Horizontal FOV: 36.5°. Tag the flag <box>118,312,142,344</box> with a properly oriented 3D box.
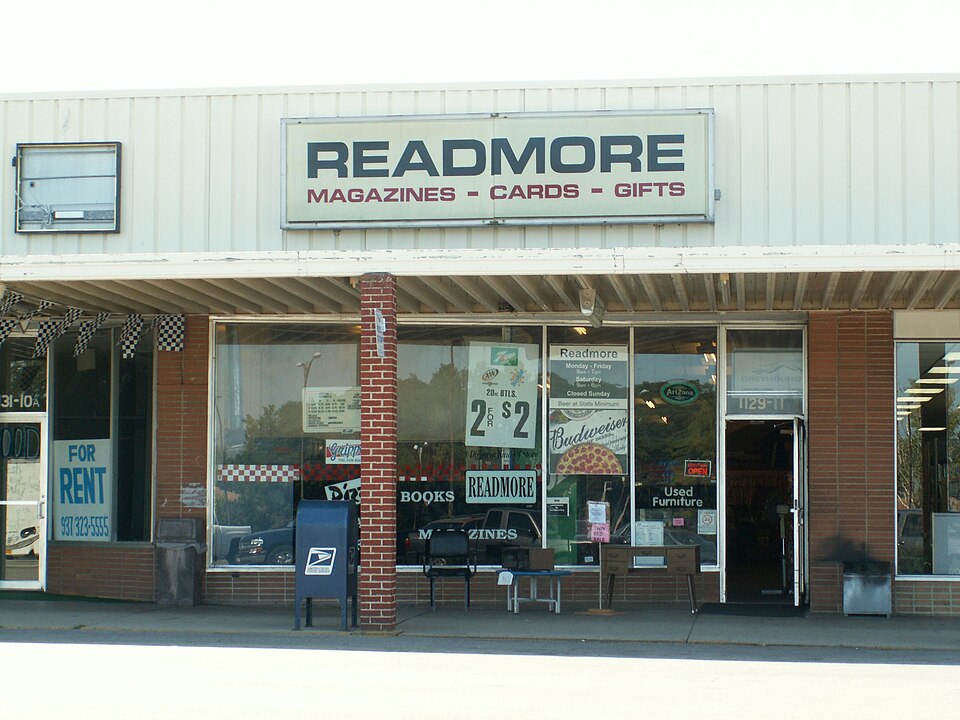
[{"bbox_3d":[-5.268,-0.451,21.898,0.309,0.438,0.143,5,-3,10],"label":"flag"}]

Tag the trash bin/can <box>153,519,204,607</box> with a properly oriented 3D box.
[{"bbox_3d":[-4.445,2.996,21.397,0.659,1.261,0.322,0,3,-7],"label":"trash bin/can"}]

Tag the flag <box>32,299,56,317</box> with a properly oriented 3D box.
[{"bbox_3d":[-6.558,-0.750,21.871,0.313,0.337,0.349,8,-18,-24],"label":"flag"}]

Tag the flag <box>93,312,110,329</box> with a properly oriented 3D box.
[{"bbox_3d":[-5.747,-0.590,22.060,0.059,0.229,0.224,35,-34,2],"label":"flag"}]

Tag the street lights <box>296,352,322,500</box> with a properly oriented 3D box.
[{"bbox_3d":[-2.565,0.990,21.838,0.364,2.182,0.277,0,3,-10],"label":"street lights"}]

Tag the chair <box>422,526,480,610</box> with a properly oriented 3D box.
[{"bbox_3d":[-0.444,3.090,21.216,0.775,1.095,0.799,0,3,-3],"label":"chair"}]

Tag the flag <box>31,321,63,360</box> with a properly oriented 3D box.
[{"bbox_3d":[-6.687,-0.299,22.332,0.497,0.604,0.278,1,3,7],"label":"flag"}]

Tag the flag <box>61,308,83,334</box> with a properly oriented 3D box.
[{"bbox_3d":[-6.196,-0.590,22.028,0.067,0.450,0.405,31,9,27],"label":"flag"}]

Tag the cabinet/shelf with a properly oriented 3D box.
[{"bbox_3d":[2.457,3.098,21.192,1.367,0.729,0.628,-1,-2,6],"label":"cabinet/shelf"}]

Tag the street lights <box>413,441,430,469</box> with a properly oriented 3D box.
[{"bbox_3d":[-0.871,1.430,21.703,0.182,0.345,0.070,0,3,-5],"label":"street lights"}]

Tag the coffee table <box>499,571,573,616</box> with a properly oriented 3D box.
[{"bbox_3d":[0.776,3.394,21.158,0.970,0.486,0.902,1,-9,-2],"label":"coffee table"}]
